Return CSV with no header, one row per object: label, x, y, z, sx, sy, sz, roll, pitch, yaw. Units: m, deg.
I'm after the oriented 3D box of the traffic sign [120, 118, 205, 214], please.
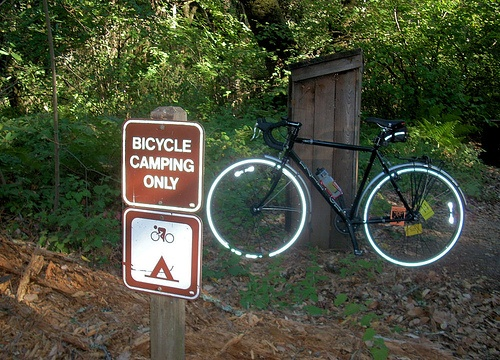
traffic sign,-0.806,-0.133,4.377,0.839,0.884,0.064,1,2,8
